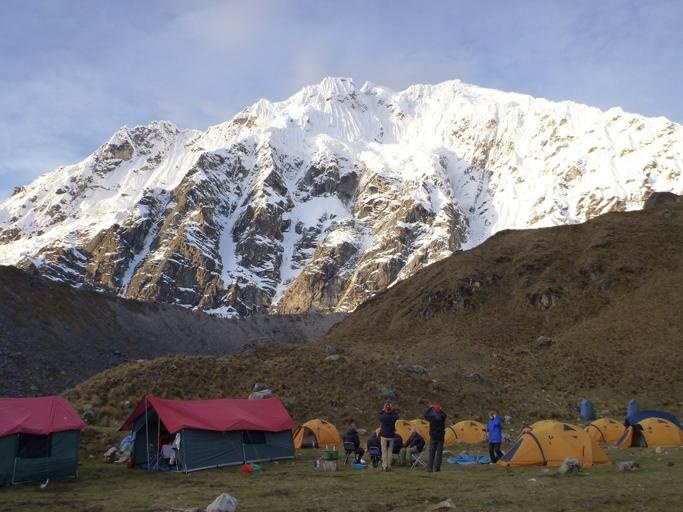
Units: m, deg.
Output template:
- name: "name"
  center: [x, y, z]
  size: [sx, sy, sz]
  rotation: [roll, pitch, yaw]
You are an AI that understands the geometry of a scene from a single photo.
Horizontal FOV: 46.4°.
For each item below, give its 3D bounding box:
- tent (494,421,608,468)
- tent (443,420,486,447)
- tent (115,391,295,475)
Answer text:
- name: "tent"
  center: [17.221, 15.144, 63.310]
  size: [8.655, 3.291, 6.509]
  rotation: [1, -12, 1]
- name: "tent"
  center: [10.955, 15.656, 69.567]
  size: [2.781, 0.957, 2.126]
  rotation: [-3, -9, -11]
- name: "tent"
  center: [-11.120, 15.072, 66.689]
  size: [10.217, 6.307, 12.112]
  rotation: [3, -1, 36]
